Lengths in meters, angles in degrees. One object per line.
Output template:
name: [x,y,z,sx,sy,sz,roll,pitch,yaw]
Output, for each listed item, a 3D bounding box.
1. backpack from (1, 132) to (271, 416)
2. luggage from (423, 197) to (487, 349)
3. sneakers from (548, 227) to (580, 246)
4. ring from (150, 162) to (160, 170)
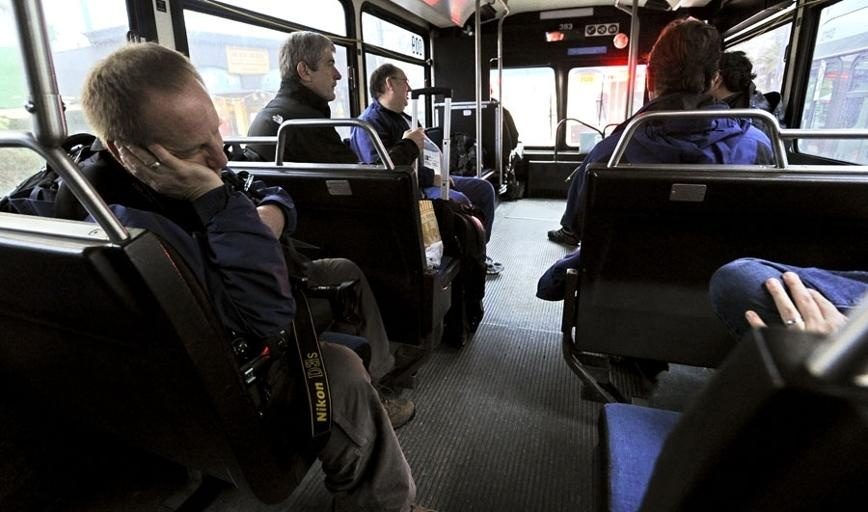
backpack: [-0.987,0.095,1.893,0.940,0.795,0.485,11,32,21]
luggage: [0.115,0.123,3.479,0.547,0.922,0.747,1,21,6]
sneakers: [1.320,-0.189,5.677,0.154,0.155,0.397,-8,17,-30]
ring: [-0.986,-0.321,2.006,0.032,0.028,0.022,2,39,-17]
